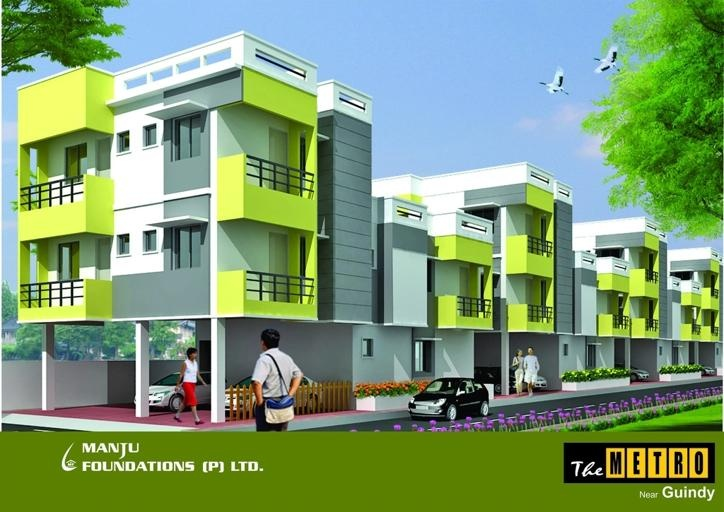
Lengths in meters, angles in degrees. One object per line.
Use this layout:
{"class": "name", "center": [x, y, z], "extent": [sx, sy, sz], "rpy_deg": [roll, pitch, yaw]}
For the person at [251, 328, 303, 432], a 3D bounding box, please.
{"class": "person", "center": [-1.830, 2.669, 16.304], "extent": [0.936, 2.112, 0.447], "rpy_deg": [1, -2, -10]}
